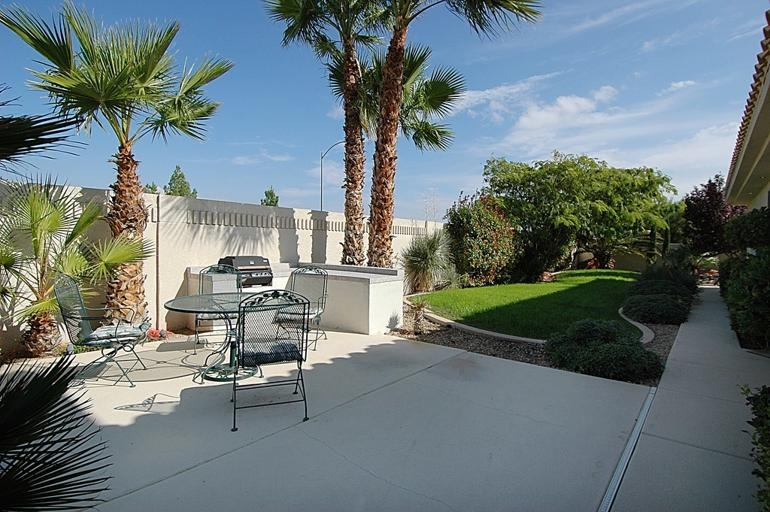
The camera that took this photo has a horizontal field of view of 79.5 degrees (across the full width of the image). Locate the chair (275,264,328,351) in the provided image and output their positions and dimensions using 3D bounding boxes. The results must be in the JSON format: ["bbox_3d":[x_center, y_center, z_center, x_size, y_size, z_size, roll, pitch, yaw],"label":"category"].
[{"bbox_3d":[-1.561,0.982,8.724,0.873,1.454,1.054,4,9,19],"label":"chair"}]

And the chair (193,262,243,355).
[{"bbox_3d":[-2.763,0.815,8.462,0.810,0.900,1.411,13,40,-17],"label":"chair"}]

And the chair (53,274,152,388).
[{"bbox_3d":[-4.001,1.061,6.649,1.102,1.295,0.852,3,2,-11],"label":"chair"}]

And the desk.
[{"bbox_3d":[-2.332,1.312,6.667,1.324,0.889,1.352,1,8,8],"label":"desk"}]

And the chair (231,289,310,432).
[{"bbox_3d":[-1.515,1.198,6.297,0.941,1.552,1.946,0,3,-10],"label":"chair"}]
